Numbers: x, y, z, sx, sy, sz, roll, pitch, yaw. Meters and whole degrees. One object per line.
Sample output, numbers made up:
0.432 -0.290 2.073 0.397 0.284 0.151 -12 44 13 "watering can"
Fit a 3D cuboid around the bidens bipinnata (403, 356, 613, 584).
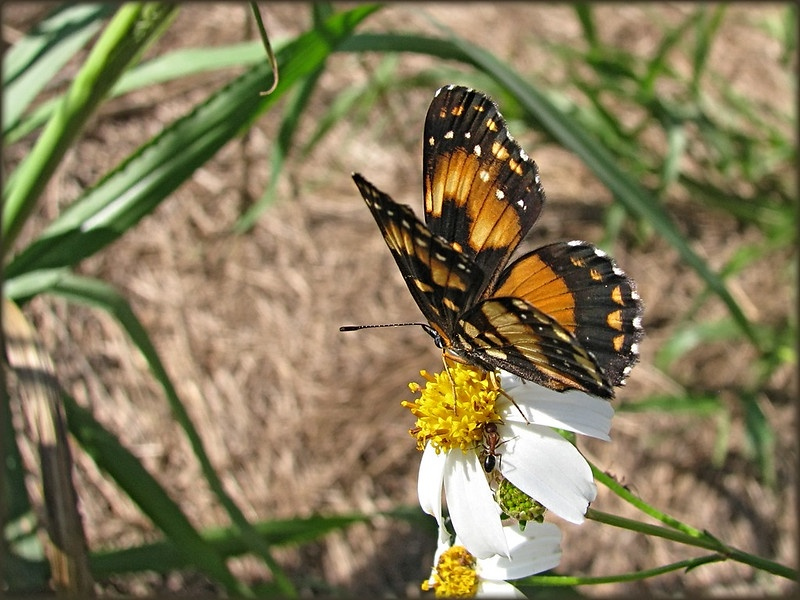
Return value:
0.376 0.400 2.325 0.588 0.591 0.289 -6 33 46 "bidens bipinnata"
